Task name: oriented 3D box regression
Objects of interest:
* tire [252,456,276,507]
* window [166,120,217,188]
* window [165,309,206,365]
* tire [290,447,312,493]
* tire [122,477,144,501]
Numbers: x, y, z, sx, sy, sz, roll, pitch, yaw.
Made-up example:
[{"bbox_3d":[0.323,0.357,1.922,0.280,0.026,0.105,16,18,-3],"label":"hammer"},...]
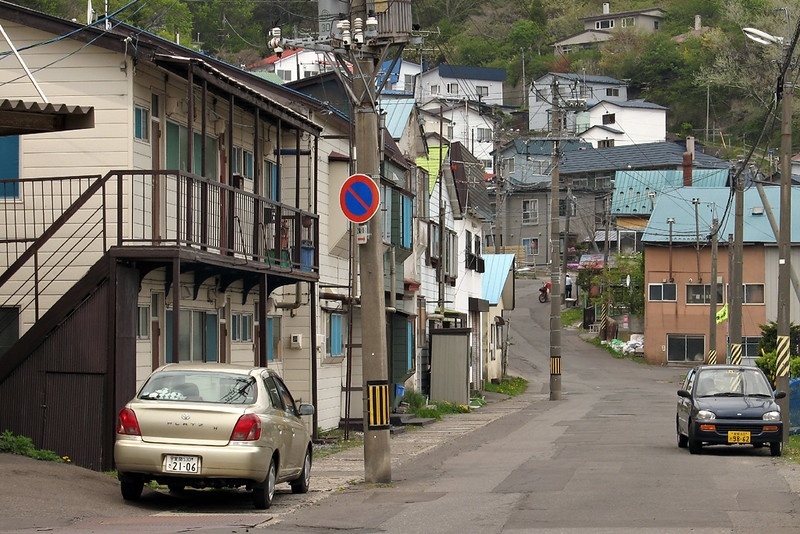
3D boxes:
[{"bbox_3d":[-2.933,4.589,28.258,0.337,1.178,1.168,1,2,9],"label":"tire"},{"bbox_3d":[-5.414,-2.914,33.882,0.056,1.253,2.173,3,-1,25],"label":"window"},{"bbox_3d":[-5.505,1.793,33.536,0.112,1.038,1.430,-2,-5,20],"label":"window"},{"bbox_3d":[-2.295,4.646,30.122,0.378,1.150,1.140,0,2,7],"label":"tire"},{"bbox_3d":[-5.789,4.804,28.459,0.204,0.588,0.584,2,2,18],"label":"tire"}]
